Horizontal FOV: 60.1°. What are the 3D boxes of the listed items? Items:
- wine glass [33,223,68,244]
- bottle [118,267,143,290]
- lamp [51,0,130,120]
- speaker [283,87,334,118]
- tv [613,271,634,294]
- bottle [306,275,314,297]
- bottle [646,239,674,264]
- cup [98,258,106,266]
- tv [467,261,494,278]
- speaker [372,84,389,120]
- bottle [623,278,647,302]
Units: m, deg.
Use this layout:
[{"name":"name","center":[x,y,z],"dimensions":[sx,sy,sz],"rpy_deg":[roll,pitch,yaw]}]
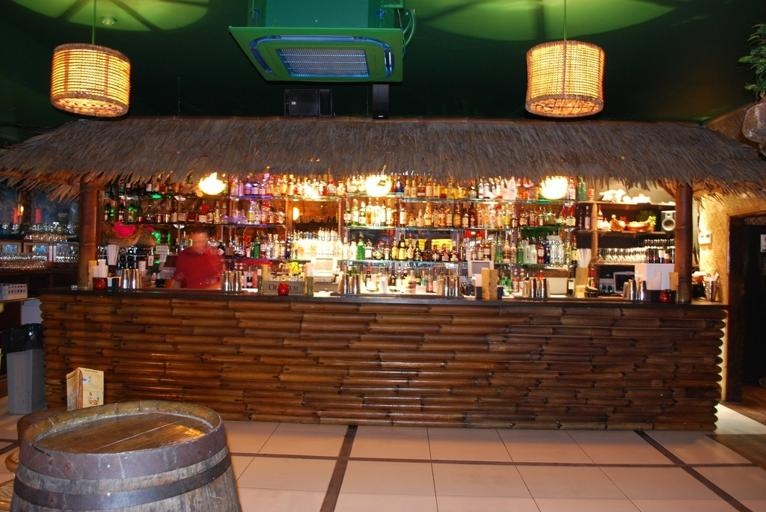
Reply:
[{"name":"wine glass","center":[-5.122,-0.343,10.057],"dimensions":[0.328,0.323,0.901],"rpy_deg":[-1,0,8]},{"name":"bottle","center":[-2.927,0.269,7.632],"dimensions":[0.300,0.235,0.209],"rpy_deg":[-1,0,1]},{"name":"lamp","center":[-3.131,-1.886,7.057],"dimensions":[0.752,1.106,0.414],"rpy_deg":[-2,1,-23]},{"name":"speaker","center":[-0.958,-1.980,8.449],"dimensions":[0.604,0.344,0.241],"rpy_deg":[-1,0,-7]},{"name":"tv","center":[3.075,0.344,8.478],"dimensions":[0.349,0.323,0.048],"rpy_deg":[1,-1,-3]},{"name":"bottle","center":[-0.842,0.341,7.499],"dimensions":[0.094,0.205,0.272],"rpy_deg":[-2,1,-7]},{"name":"bottle","center":[4.000,-0.077,9.578],"dimensions":[0.484,0.382,0.444],"rpy_deg":[0,2,0]},{"name":"cup","center":[-3.247,0.068,7.636],"dimensions":[0.105,0.037,0.123],"rpy_deg":[0,11,-13]},{"name":"tv","center":[1.191,0.216,8.198],"dimensions":[0.371,0.222,0.186],"rpy_deg":[0,3,13]},{"name":"speaker","center":[-0.033,-1.919,8.209],"dimensions":[0.188,0.350,0.188],"rpy_deg":[-2,1,3]},{"name":"bottle","center":[2.829,0.386,7.466],"dimensions":[0.251,0.177,0.227],"rpy_deg":[-1,1,25]}]
